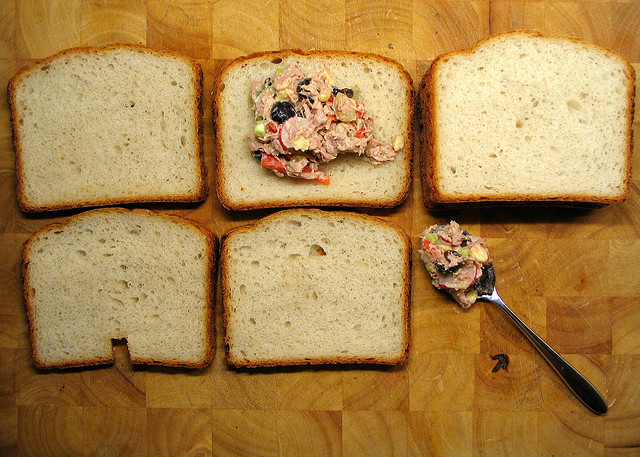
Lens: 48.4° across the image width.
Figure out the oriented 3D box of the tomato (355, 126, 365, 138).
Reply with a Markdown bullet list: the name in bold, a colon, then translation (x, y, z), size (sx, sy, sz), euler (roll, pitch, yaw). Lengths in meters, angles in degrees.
- **tomato**: translation (0.248, -0.569, 4.277), size (0.070, 0.016, 0.056), euler (-37, 82, -14)

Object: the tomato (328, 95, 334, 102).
- **tomato**: translation (0.069, -0.769, 4.238), size (0.037, 0.017, 0.031), euler (-41, 82, -15)

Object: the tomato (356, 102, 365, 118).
- **tomato**: translation (0.239, -0.711, 4.273), size (0.044, 0.035, 0.086), euler (5, 74, -4)

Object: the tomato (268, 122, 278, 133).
- **tomato**: translation (-0.277, -0.596, 4.225), size (0.063, 0.025, 0.036), euler (36, 74, 4)
